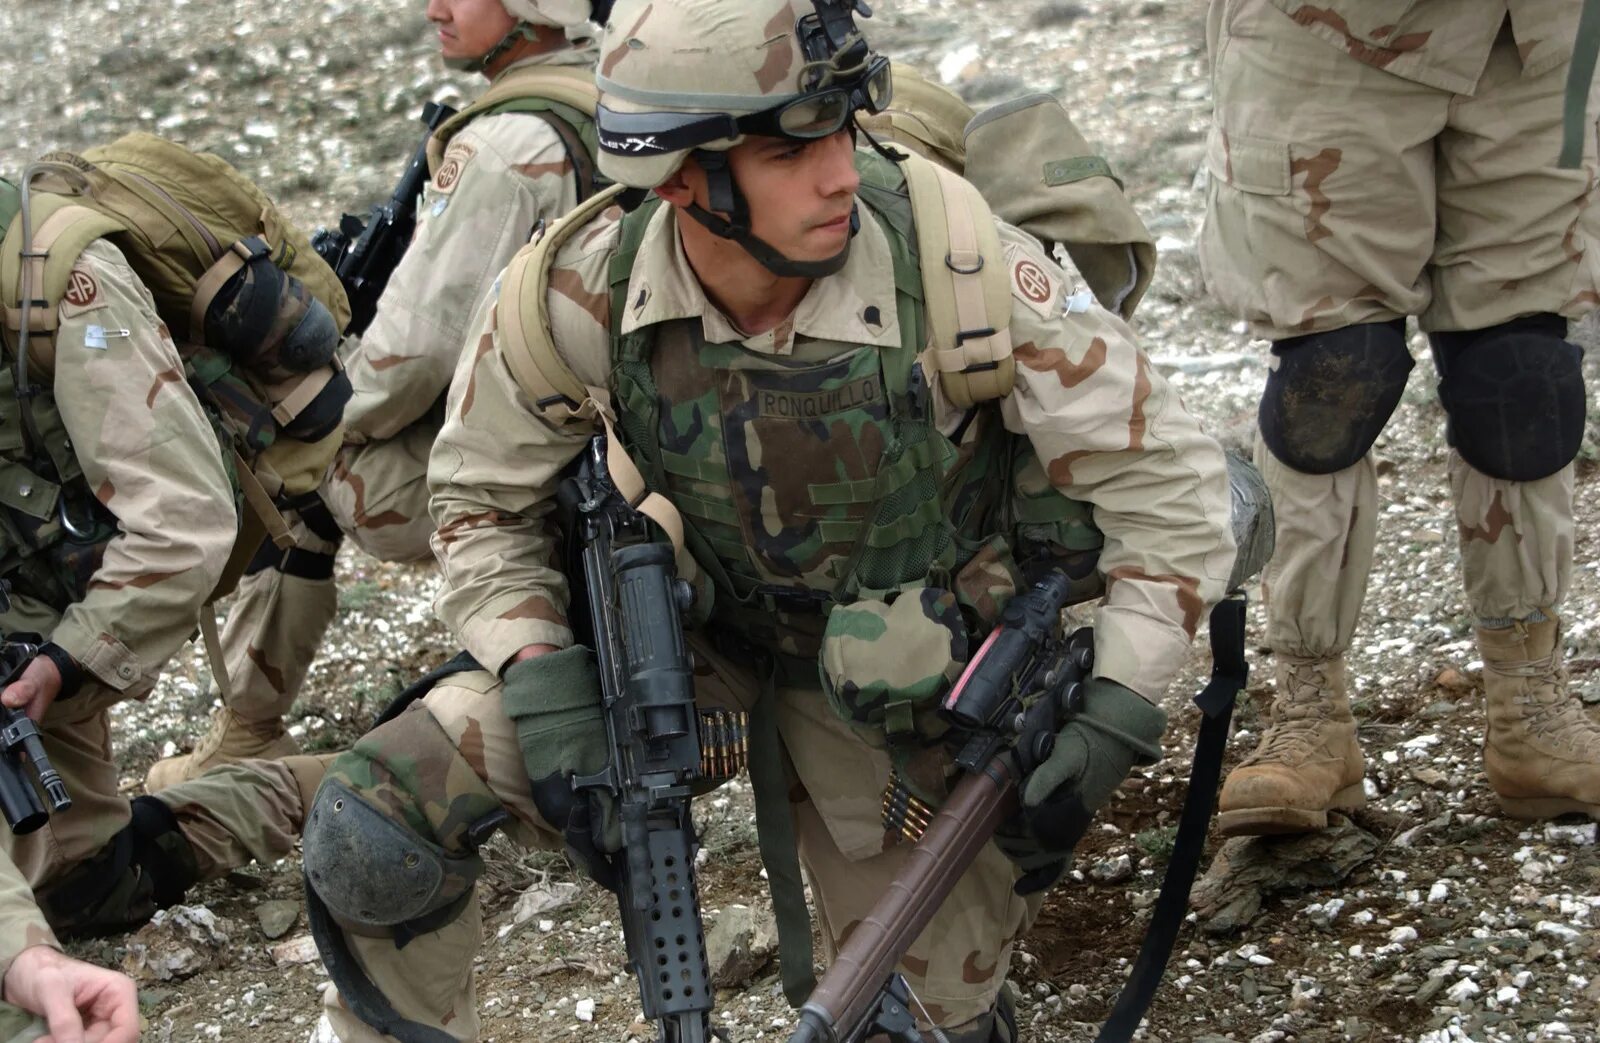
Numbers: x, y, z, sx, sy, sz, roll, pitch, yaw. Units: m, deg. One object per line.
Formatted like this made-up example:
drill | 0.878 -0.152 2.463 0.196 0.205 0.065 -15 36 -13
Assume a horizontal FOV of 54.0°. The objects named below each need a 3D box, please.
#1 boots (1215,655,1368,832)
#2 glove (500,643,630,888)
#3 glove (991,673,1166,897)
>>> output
boots | 1.429 0.625 4.587 0.254 0.523 0.695 -8 -6 40
glove | -0.599 0.513 3.915 0.287 0.700 0.204 -4 -17 -39
glove | 0.683 0.616 3.771 0.191 0.415 0.449 25 74 47
